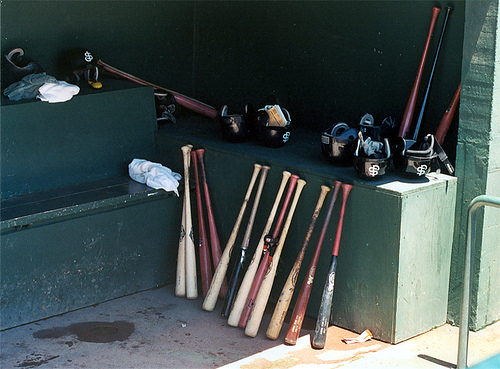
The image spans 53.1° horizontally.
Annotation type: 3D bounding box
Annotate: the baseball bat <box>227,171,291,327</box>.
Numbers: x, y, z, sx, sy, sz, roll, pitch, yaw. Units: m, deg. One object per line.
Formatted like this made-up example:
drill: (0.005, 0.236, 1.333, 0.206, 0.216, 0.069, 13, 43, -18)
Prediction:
baseball bat: (0.135, 0.408, 3.485, 0.159, 0.154, 1.537, -5, 37, 22)

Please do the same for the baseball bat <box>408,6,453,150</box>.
baseball bat: (1.171, -0.683, 3.210, 0.075, 0.999, 0.087, 22, 8, 35)

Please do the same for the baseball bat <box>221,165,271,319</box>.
baseball bat: (-0.016, 0.380, 3.330, 0.074, 1.025, 0.084, 15, -13, -12)

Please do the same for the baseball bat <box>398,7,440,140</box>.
baseball bat: (1.116, -0.743, 3.274, 0.065, 0.977, 0.074, 23, -1, 9)

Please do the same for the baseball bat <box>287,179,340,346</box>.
baseball bat: (0.405, 0.472, 3.100, 0.097, 1.017, 0.082, 12, -13, 33)

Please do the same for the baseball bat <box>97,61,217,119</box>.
baseball bat: (-0.793, -0.799, 4.199, 1.248, 0.138, 0.136, 26, 30, -12)

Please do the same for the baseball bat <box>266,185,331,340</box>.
baseball bat: (0.317, 0.482, 3.139, 0.103, 0.964, 0.079, 17, -15, 6)

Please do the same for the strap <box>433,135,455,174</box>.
strap: (1.202, -0.189, 3.110, 0.284, 0.033, 0.053, 53, -7, -15)

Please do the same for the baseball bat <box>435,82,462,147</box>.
baseball bat: (1.237, -0.421, 3.166, 0.072, 0.477, 0.065, 27, 14, 40)

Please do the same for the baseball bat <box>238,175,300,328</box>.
baseball bat: (0.137, 0.434, 3.229, 0.105, 0.995, 0.094, 18, -14, 3)

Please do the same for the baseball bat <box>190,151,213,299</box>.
baseball bat: (-0.344, 0.285, 3.625, 0.140, 1.067, 0.107, -12, -10, 37)

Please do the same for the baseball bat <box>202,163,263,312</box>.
baseball bat: (-0.109, 0.361, 3.409, 0.077, 1.019, 0.081, 17, -10, 0)

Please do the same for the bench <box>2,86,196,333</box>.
bench: (-1.067, 0.215, 3.417, 1.326, 1.380, 0.689, -7, 13, -33)
